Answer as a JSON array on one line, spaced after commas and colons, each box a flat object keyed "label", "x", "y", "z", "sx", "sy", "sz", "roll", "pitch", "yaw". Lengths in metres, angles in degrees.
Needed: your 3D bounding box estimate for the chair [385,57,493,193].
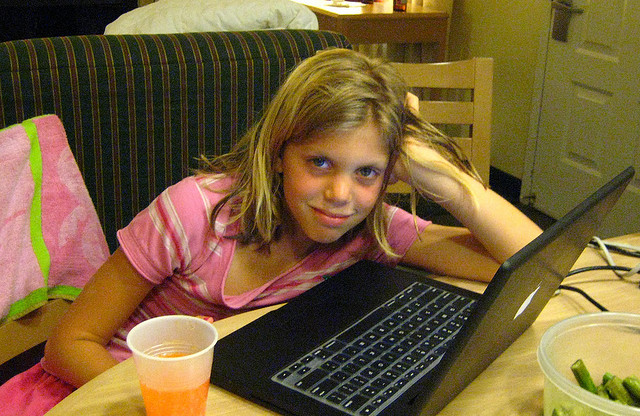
[{"label": "chair", "x": 0.497, "y": -0.370, "z": 1.862, "sx": 0.422, "sy": 0.429, "sz": 0.227, "roll": 11, "pitch": 27, "yaw": 18}]
